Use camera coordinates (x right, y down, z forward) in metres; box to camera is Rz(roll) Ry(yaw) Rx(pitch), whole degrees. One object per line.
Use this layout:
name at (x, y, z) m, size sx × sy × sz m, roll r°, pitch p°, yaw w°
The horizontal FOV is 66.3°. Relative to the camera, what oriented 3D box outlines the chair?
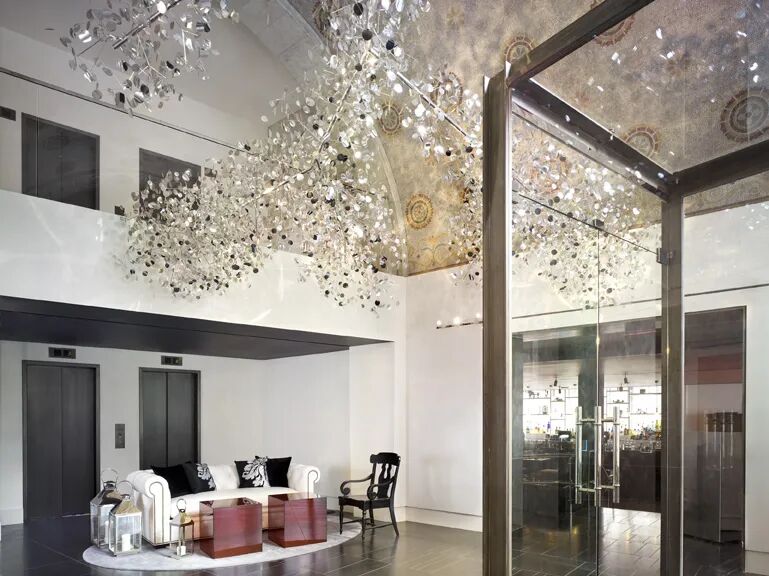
chair at (-0.221, 2.779, 7.927) m, size 0.701 × 1.078 × 0.682 m, roll -6°, pitch -15°, yaw 37°
